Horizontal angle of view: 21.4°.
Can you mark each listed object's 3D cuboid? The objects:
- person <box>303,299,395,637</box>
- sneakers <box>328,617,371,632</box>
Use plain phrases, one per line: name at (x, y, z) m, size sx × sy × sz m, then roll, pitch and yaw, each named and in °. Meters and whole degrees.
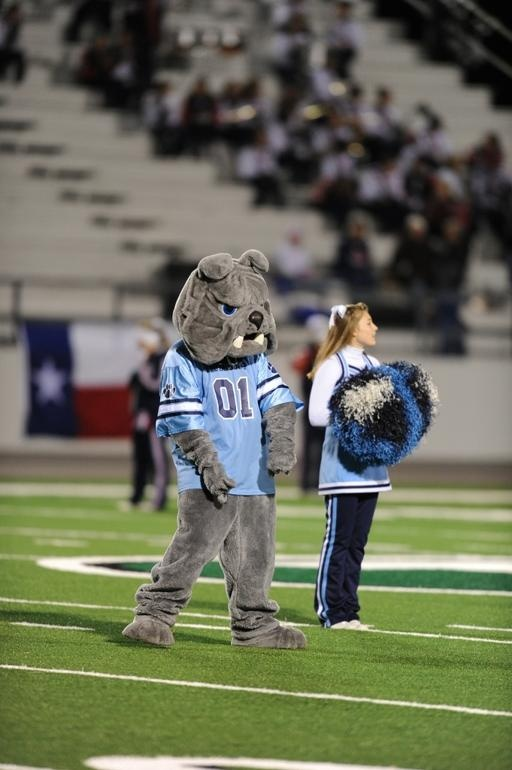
person at (0.378, 0.417, 5.998) m, size 0.402 × 1.494 × 0.663 m, roll 6°, pitch 18°, yaw 2°
sneakers at (0.399, 1.049, 5.902) m, size 0.175 × 0.039 × 0.094 m, roll 7°, pitch 16°, yaw 7°
